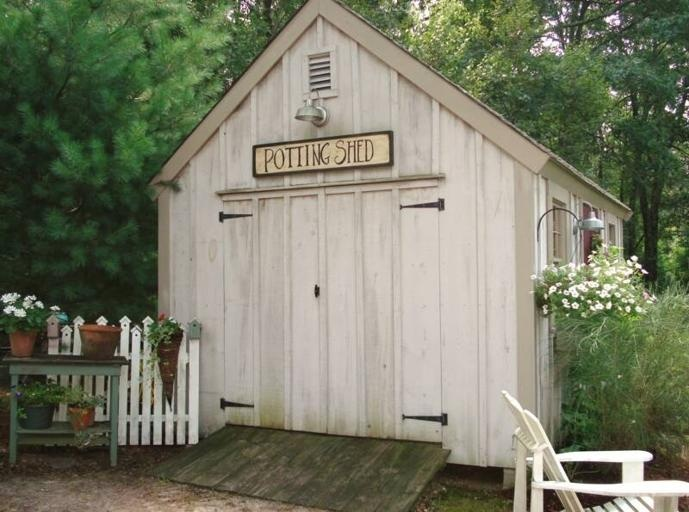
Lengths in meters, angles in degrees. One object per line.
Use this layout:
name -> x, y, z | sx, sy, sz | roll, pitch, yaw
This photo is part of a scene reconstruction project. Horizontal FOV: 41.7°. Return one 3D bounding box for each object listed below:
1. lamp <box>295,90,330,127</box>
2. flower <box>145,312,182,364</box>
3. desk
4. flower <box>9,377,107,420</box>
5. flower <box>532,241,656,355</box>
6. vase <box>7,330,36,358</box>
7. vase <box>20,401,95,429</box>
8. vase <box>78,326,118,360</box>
lamp -> -0.420, -1.995, 12.139 | 0.394, 0.463, 0.401 | 1, -6, 7
flower -> -2.487, 1.050, 12.337 | 0.394, 0.590, 0.589 | 2, -50, -1
desk -> -3.695, 2.030, 12.026 | 1.543, 1.434, 1.030 | 3, -6, -10
flower -> -3.873, 1.899, 12.313 | 0.831, 0.421, 0.657 | 4, -3, -8
flower -> 3.244, 0.602, 11.913 | 1.400, 0.942, 1.244 | -1, -3, -26
vase -> -4.275, 1.161, 12.044 | 0.335, 0.316, 0.339 | 3, -4, -15
vase -> -3.793, 2.148, 12.112 | 0.607, 0.252, 0.455 | -2, -6, 1
vase -> -3.250, 1.143, 12.054 | 0.546, 0.405, 0.553 | 6, 4, 34
